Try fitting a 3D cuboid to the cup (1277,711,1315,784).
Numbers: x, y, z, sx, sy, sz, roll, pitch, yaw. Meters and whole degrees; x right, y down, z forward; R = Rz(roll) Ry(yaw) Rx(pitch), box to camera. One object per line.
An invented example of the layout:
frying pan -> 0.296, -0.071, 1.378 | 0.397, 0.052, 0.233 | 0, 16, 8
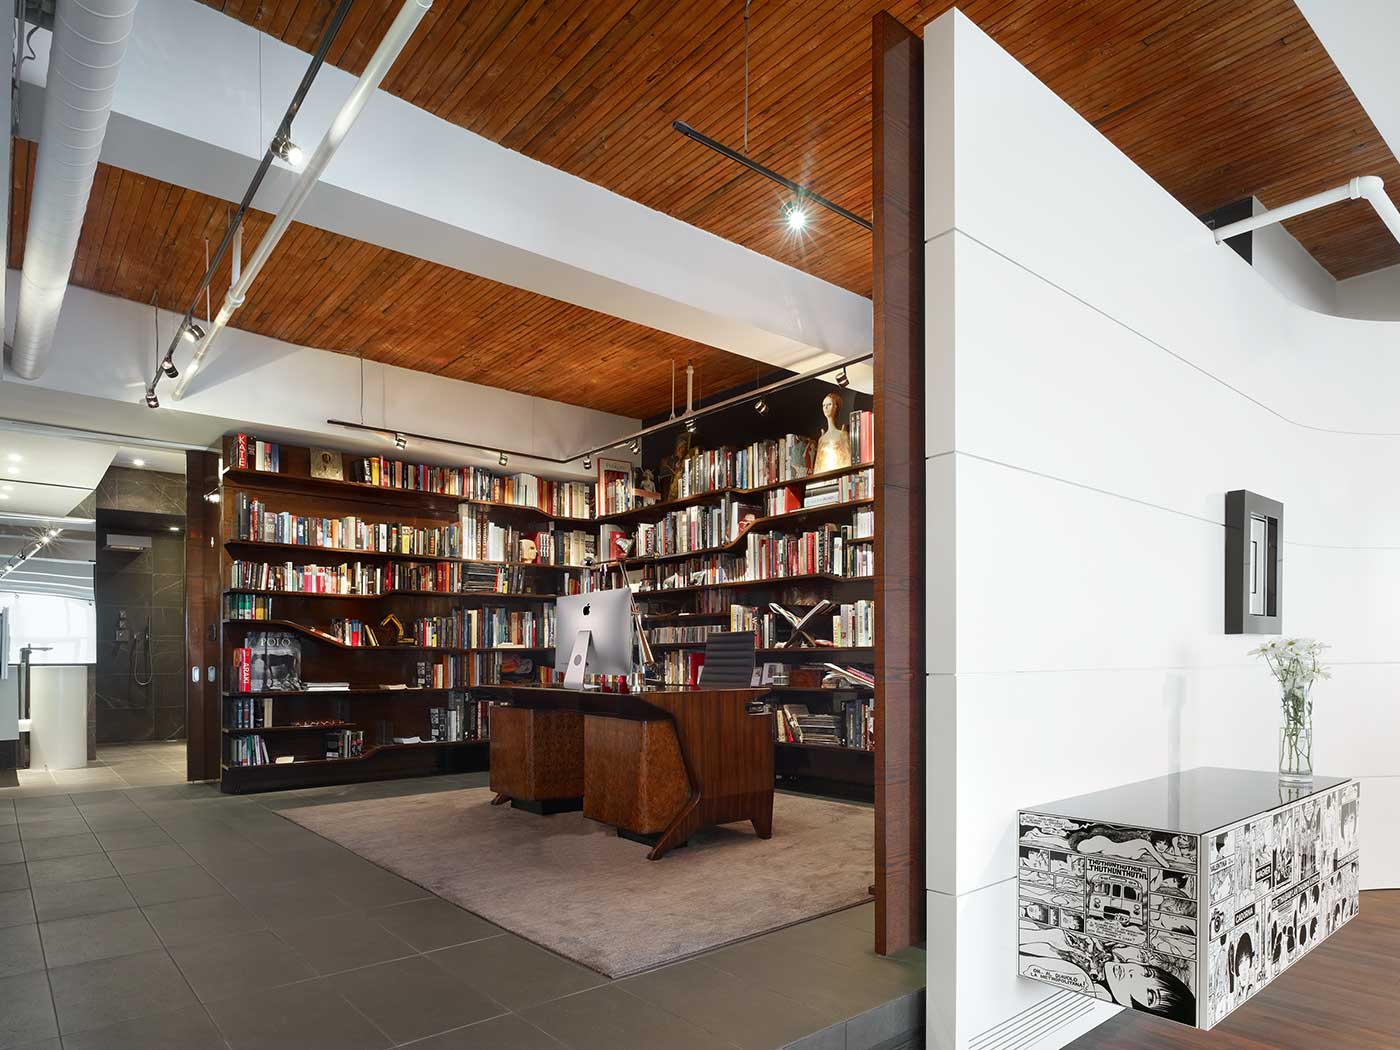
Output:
cup -> 2.824, 1.062, 4.558 | 0.130, 0.287, 0.292 | -1, -1, 29
